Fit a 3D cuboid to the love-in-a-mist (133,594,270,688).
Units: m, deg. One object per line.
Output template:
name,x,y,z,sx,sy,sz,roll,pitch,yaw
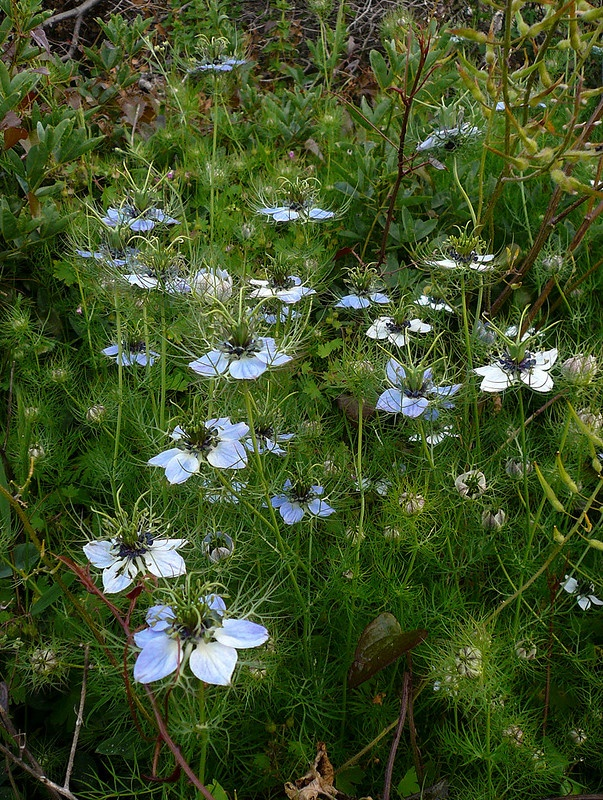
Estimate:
love-in-a-mist,-0.145,0.342,1.020,0.186,0.056,0.126,1,34,-2
